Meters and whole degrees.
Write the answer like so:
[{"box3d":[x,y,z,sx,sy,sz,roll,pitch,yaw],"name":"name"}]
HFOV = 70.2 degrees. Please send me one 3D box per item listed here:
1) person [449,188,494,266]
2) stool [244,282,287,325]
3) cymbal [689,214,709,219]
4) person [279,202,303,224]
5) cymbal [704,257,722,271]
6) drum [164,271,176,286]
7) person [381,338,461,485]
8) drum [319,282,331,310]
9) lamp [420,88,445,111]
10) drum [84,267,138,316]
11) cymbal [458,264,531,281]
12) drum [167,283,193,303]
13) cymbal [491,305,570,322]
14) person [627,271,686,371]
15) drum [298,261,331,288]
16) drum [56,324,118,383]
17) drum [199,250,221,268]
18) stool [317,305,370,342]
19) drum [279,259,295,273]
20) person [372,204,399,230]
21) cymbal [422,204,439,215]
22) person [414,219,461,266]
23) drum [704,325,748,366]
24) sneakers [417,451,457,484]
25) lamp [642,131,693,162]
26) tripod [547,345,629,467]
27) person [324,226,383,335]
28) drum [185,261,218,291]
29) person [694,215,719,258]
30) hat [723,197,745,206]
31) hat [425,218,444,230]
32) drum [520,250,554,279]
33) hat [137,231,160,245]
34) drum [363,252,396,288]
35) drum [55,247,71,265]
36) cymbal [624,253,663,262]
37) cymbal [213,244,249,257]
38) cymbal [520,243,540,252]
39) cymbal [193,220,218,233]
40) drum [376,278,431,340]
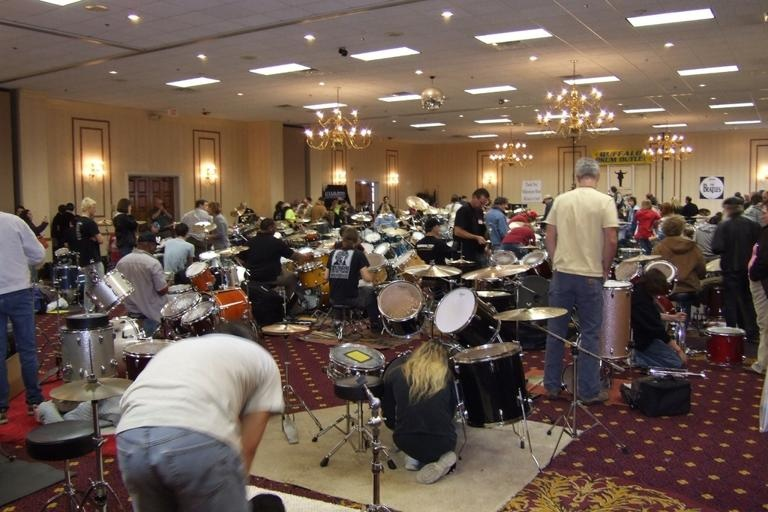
[{"box3d":[1.386,-0.440,8.642,0.520,1.211,0.663,1,12,10],"name":"person"},{"box3d":[-1.764,0.696,8.064,0.606,0.587,0.566,-12,10,-35],"name":"stool"},{"box3d":[9.386,-1.144,16.149,0.374,0.094,0.362,-6,5,-12],"name":"cymbal"},{"box3d":[-2.737,-1.249,16.096,0.694,0.672,1.846,13,-1,-9],"name":"person"},{"box3d":[4.822,0.126,7.995,0.164,0.175,0.195,23,-9,-29],"name":"cymbal"},{"box3d":[-3.328,0.343,8.499,0.170,0.183,0.167,13,30,28],"name":"drum"},{"box3d":[0.285,1.271,4.578,0.637,1.069,0.508,1,12,12],"name":"person"},{"box3d":[-0.969,0.634,9.072,0.219,0.532,0.529,0,-3,-10],"name":"drum"},{"box3d":[1.030,-3.343,11.510,0.362,0.387,0.600,1,11,12],"name":"lamp"},{"box3d":[-3.177,0.397,6.324,0.503,0.364,0.500,-33,7,4],"name":"drum"},{"box3d":[1.223,0.180,5.936,0.382,0.088,0.376,-10,-5,-38],"name":"cymbal"},{"box3d":[-2.684,0.468,7.197,0.298,0.299,0.303,6,9,41],"name":"drum"},{"box3d":[1.402,0.550,5.184,0.344,0.073,0.336,-3,-5,-33],"name":"cymbal"},{"box3d":[2.916,0.697,5.812,0.545,1.078,0.342,6,14,30],"name":"person"},{"box3d":[-1.110,0.296,8.979,0.497,0.355,0.491,-5,3,0],"name":"drum"},{"box3d":[-2.598,0.821,4.902,0.486,0.436,0.478,-3,4,-41],"name":"drum"},{"box3d":[-2.774,0.044,8.772,0.317,0.286,0.309,-24,13,-23],"name":"drum"},{"box3d":[-0.716,1.000,8.711,0.687,0.647,0.655,4,5,37],"name":"stool"},{"box3d":[-1.590,0.160,9.114,0.148,0.214,0.187,-33,-22,-20],"name":"drum"},{"box3d":[0.030,-0.931,13.978,0.721,0.719,1.100,1,10,8],"name":"person"},{"box3d":[1.393,-1.309,15.848,0.410,0.178,0.550,5,7,29],"name":"cymbal"},{"box3d":[0.866,-0.169,9.077,0.698,0.929,0.611,-3,14,21],"name":"person"},{"box3d":[4.193,1.108,6.811,0.460,0.384,0.446,0,-1,4],"name":"drum"},{"box3d":[0.444,1.735,4.541,0.383,0.146,0.155,-28,-12,-17],"name":"sneakers"},{"box3d":[10.812,-4.146,20.640,1.761,1.051,1.628,-17,22,-22],"name":"lamp"},{"box3d":[1.941,1.451,5.246,0.849,0.959,0.702,0,26,10],"name":"tripod"},{"box3d":[-0.440,0.386,7.817,0.713,1.607,0.783,-1,12,2],"name":"person"},{"box3d":[-2.668,0.301,8.076,0.306,0.287,0.301,-35,25,-13],"name":"drum"},{"box3d":[5.732,-0.253,9.648,0.419,1.154,0.386,-3,38,33],"name":"person"},{"box3d":[4.893,-0.758,7.662,0.182,0.100,0.215,-3,5,26],"name":"hat"},{"box3d":[0.831,-0.532,9.062,0.297,0.148,0.216,-23,19,-36],"name":"hat"},{"box3d":[2.068,0.131,7.334,0.285,0.221,0.278,-30,18,11],"name":"drum"},{"box3d":[-3.009,-0.228,6.967,0.262,0.135,0.180,-1,0,-2],"name":"hat"},{"box3d":[-0.087,0.235,8.585,0.508,0.485,0.378,16,13,34],"name":"drum"},{"box3d":[-6.288,0.008,10.744,0.303,0.319,0.287,0,41,-34],"name":"drum"},{"box3d":[3.519,0.038,7.469,0.287,0.120,0.295,-6,3,-12],"name":"cymbal"},{"box3d":[-2.442,-0.085,8.859,0.322,0.147,0.311,-7,7,-12],"name":"cymbal"},{"box3d":[2.411,-0.138,9.097,0.221,0.075,0.216,-3,2,-34],"name":"cymbal"},{"box3d":[-3.558,-0.549,10.944,0.388,0.236,0.576,-2,11,-5],"name":"cymbal"},{"box3d":[0.234,0.736,6.919,0.580,0.786,0.575,-1,11,0],"name":"drum"}]
